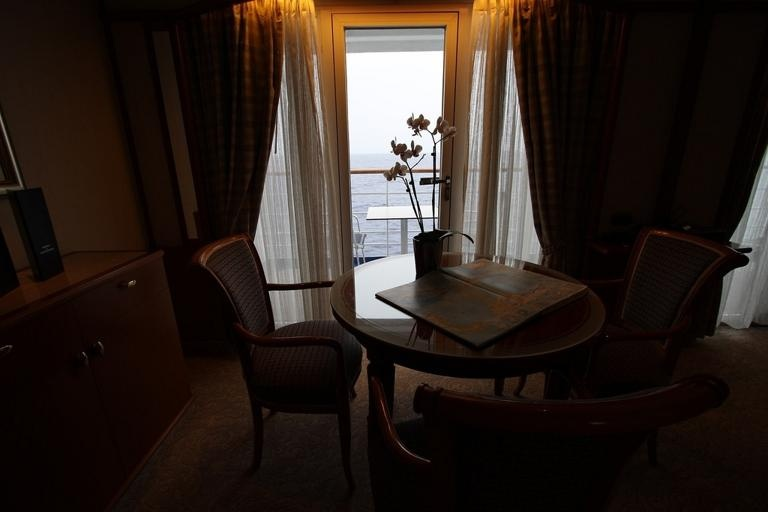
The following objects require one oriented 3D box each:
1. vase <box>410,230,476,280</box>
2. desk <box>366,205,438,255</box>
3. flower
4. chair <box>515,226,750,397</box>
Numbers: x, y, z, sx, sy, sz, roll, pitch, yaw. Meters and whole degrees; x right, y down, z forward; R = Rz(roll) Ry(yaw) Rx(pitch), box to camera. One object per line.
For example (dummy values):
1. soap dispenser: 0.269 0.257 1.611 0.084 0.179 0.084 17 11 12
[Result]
1. vase: 0.299 -0.005 2.780 0.327 0.292 0.194 -5 -22 38
2. desk: 0.153 -0.425 5.309 0.598 0.588 0.593 -3 28 -4
3. flower: 0.183 -0.353 2.733 0.315 0.569 0.273 -10 -3 11
4. chair: 1.430 0.240 3.168 1.069 1.353 0.934 1 28 0
